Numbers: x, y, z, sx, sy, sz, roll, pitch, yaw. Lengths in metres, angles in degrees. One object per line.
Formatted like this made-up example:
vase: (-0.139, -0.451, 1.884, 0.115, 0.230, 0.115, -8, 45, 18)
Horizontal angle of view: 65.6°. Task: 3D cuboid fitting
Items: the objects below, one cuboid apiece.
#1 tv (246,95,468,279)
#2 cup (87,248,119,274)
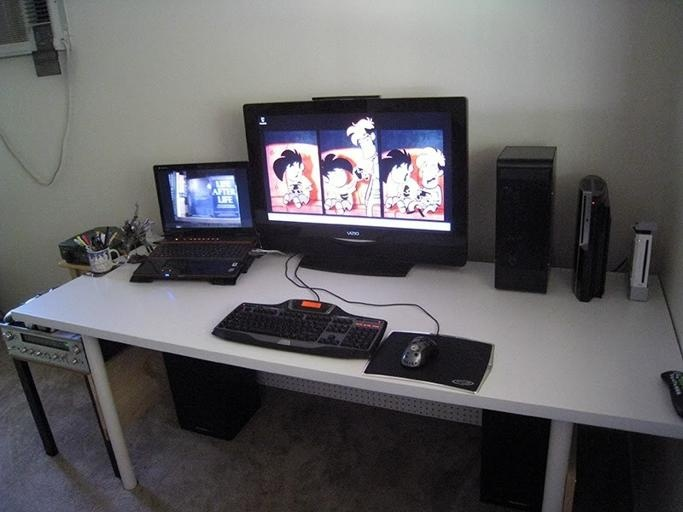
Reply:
tv: (0.094, -0.295, 2.182, 0.707, 0.550, 0.194, 3, 22, 13)
cup: (-1.061, 0.011, 2.411, 0.091, 0.107, 0.150, 6, 29, 6)
